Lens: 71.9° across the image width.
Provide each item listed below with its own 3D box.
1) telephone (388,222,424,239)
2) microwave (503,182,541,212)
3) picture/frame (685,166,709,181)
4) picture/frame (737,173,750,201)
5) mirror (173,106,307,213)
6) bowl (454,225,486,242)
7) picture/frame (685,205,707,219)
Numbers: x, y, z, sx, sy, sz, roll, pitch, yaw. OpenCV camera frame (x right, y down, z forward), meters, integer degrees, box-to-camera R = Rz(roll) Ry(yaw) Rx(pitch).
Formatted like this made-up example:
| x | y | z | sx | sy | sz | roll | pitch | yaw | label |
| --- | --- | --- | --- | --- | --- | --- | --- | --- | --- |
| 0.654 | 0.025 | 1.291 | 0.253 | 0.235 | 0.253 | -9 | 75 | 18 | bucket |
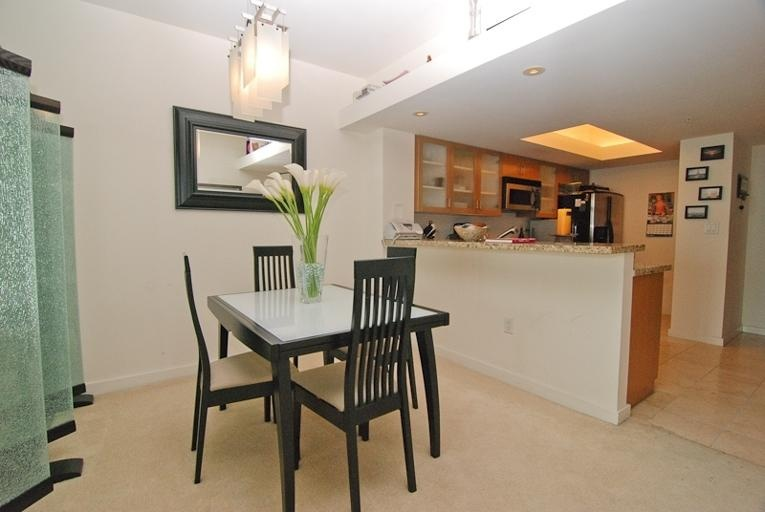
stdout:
| x | y | z | sx | sy | sz | roll | pitch | yaw | label |
| --- | --- | --- | --- | --- | --- | --- | --- | --- | --- |
| 0.229 | -0.273 | 5.542 | 0.318 | 0.169 | 0.352 | 2 | 6 | 14 | telephone |
| 1.777 | -0.754 | 6.685 | 0.712 | 0.426 | 0.288 | -3 | 4 | -39 | microwave |
| 3.484 | -0.925 | 5.826 | 0.014 | 0.141 | 0.166 | 11 | 1 | -36 | picture/frame |
| 4.024 | -0.790 | 5.894 | 0.043 | 0.333 | 0.313 | -8 | 2 | 39 | picture/frame |
| -1.360 | -0.878 | 4.780 | 1.201 | 0.837 | 0.062 | -1 | 3 | -36 | mirror |
| 0.872 | -0.232 | 5.098 | 0.213 | 0.096 | 0.211 | -1 | 2 | 0 | bowl |
| 3.486 | -0.502 | 5.849 | 0.012 | 0.132 | 0.151 | 1 | 3 | -35 | picture/frame |
